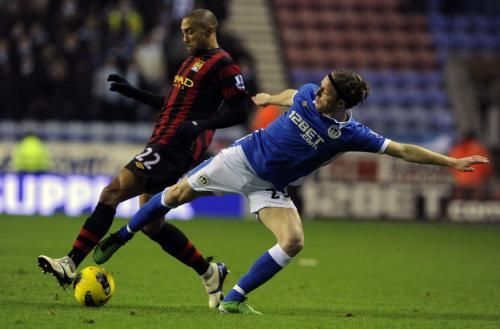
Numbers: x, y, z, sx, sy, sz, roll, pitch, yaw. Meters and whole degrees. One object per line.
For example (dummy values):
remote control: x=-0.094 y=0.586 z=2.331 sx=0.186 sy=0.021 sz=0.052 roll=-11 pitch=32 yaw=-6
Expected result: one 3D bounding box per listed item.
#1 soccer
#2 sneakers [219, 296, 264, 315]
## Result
soccer: x=-2.259 y=1.699 z=10.186 sx=0.593 sy=0.509 sz=0.551 roll=-4 pitch=5 yaw=-21
sneakers: x=-0.141 y=1.973 z=9.924 sx=0.646 sy=0.237 sz=0.220 roll=3 pitch=-5 yaw=-3
